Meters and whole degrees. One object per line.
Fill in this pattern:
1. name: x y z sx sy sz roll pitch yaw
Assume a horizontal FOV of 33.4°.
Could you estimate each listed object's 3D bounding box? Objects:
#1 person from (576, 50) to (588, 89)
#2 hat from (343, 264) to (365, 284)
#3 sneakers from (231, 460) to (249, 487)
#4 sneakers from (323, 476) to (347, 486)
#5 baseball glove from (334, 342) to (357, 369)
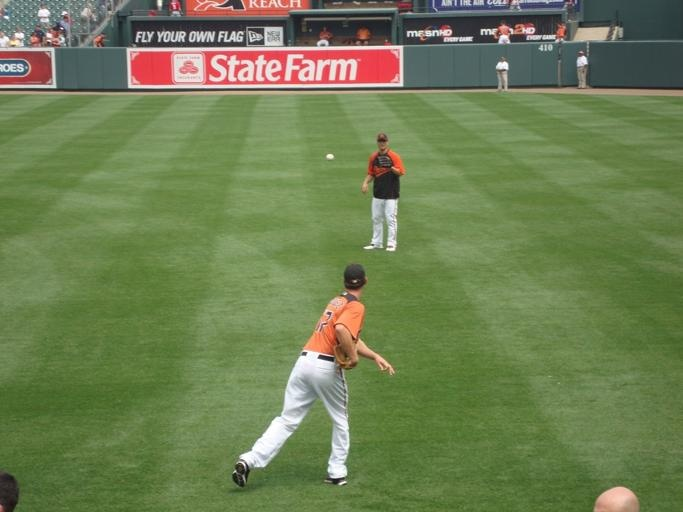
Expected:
1. person: 9.491 -7.344 44.558 0.473 1.457 1.379 1 11 11
2. hat: 0.169 0.246 15.043 0.228 0.159 0.291 2 26 6
3. sneakers: -1.350 2.863 14.953 0.197 0.390 0.202 4 22 23
4. sneakers: -0.091 3.008 15.145 0.287 0.110 0.110 6 4 23
5. baseball glove: 0.059 1.286 14.803 0.179 0.254 0.379 -3 18 -12
